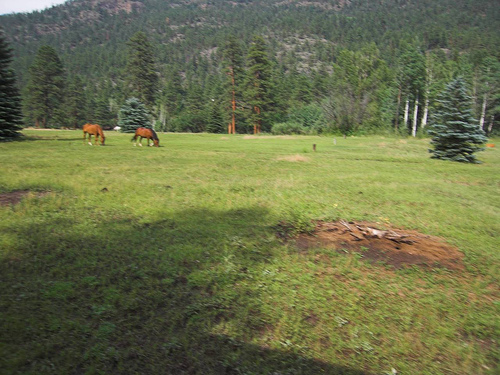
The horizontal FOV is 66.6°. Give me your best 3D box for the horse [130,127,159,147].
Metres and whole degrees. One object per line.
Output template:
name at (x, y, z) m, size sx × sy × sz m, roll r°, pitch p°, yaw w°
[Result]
horse at (-8.367, -4.044, 30.741) m, size 1.883 × 1.477 × 2.770 m, roll 0°, pitch 9°, yaw -13°
